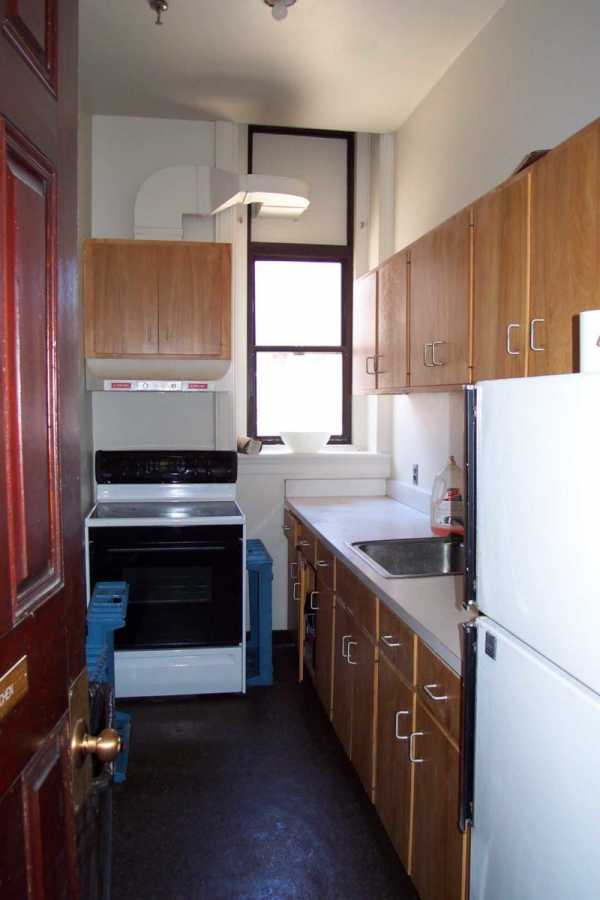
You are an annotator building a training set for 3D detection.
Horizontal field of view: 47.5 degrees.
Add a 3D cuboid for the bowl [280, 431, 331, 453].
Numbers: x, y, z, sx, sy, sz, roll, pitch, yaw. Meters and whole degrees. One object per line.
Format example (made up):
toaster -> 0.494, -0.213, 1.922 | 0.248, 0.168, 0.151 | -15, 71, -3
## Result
bowl -> 0.024, -0.040, 3.583 | 0.248, 0.115, 0.137 | 0, 3, 13
